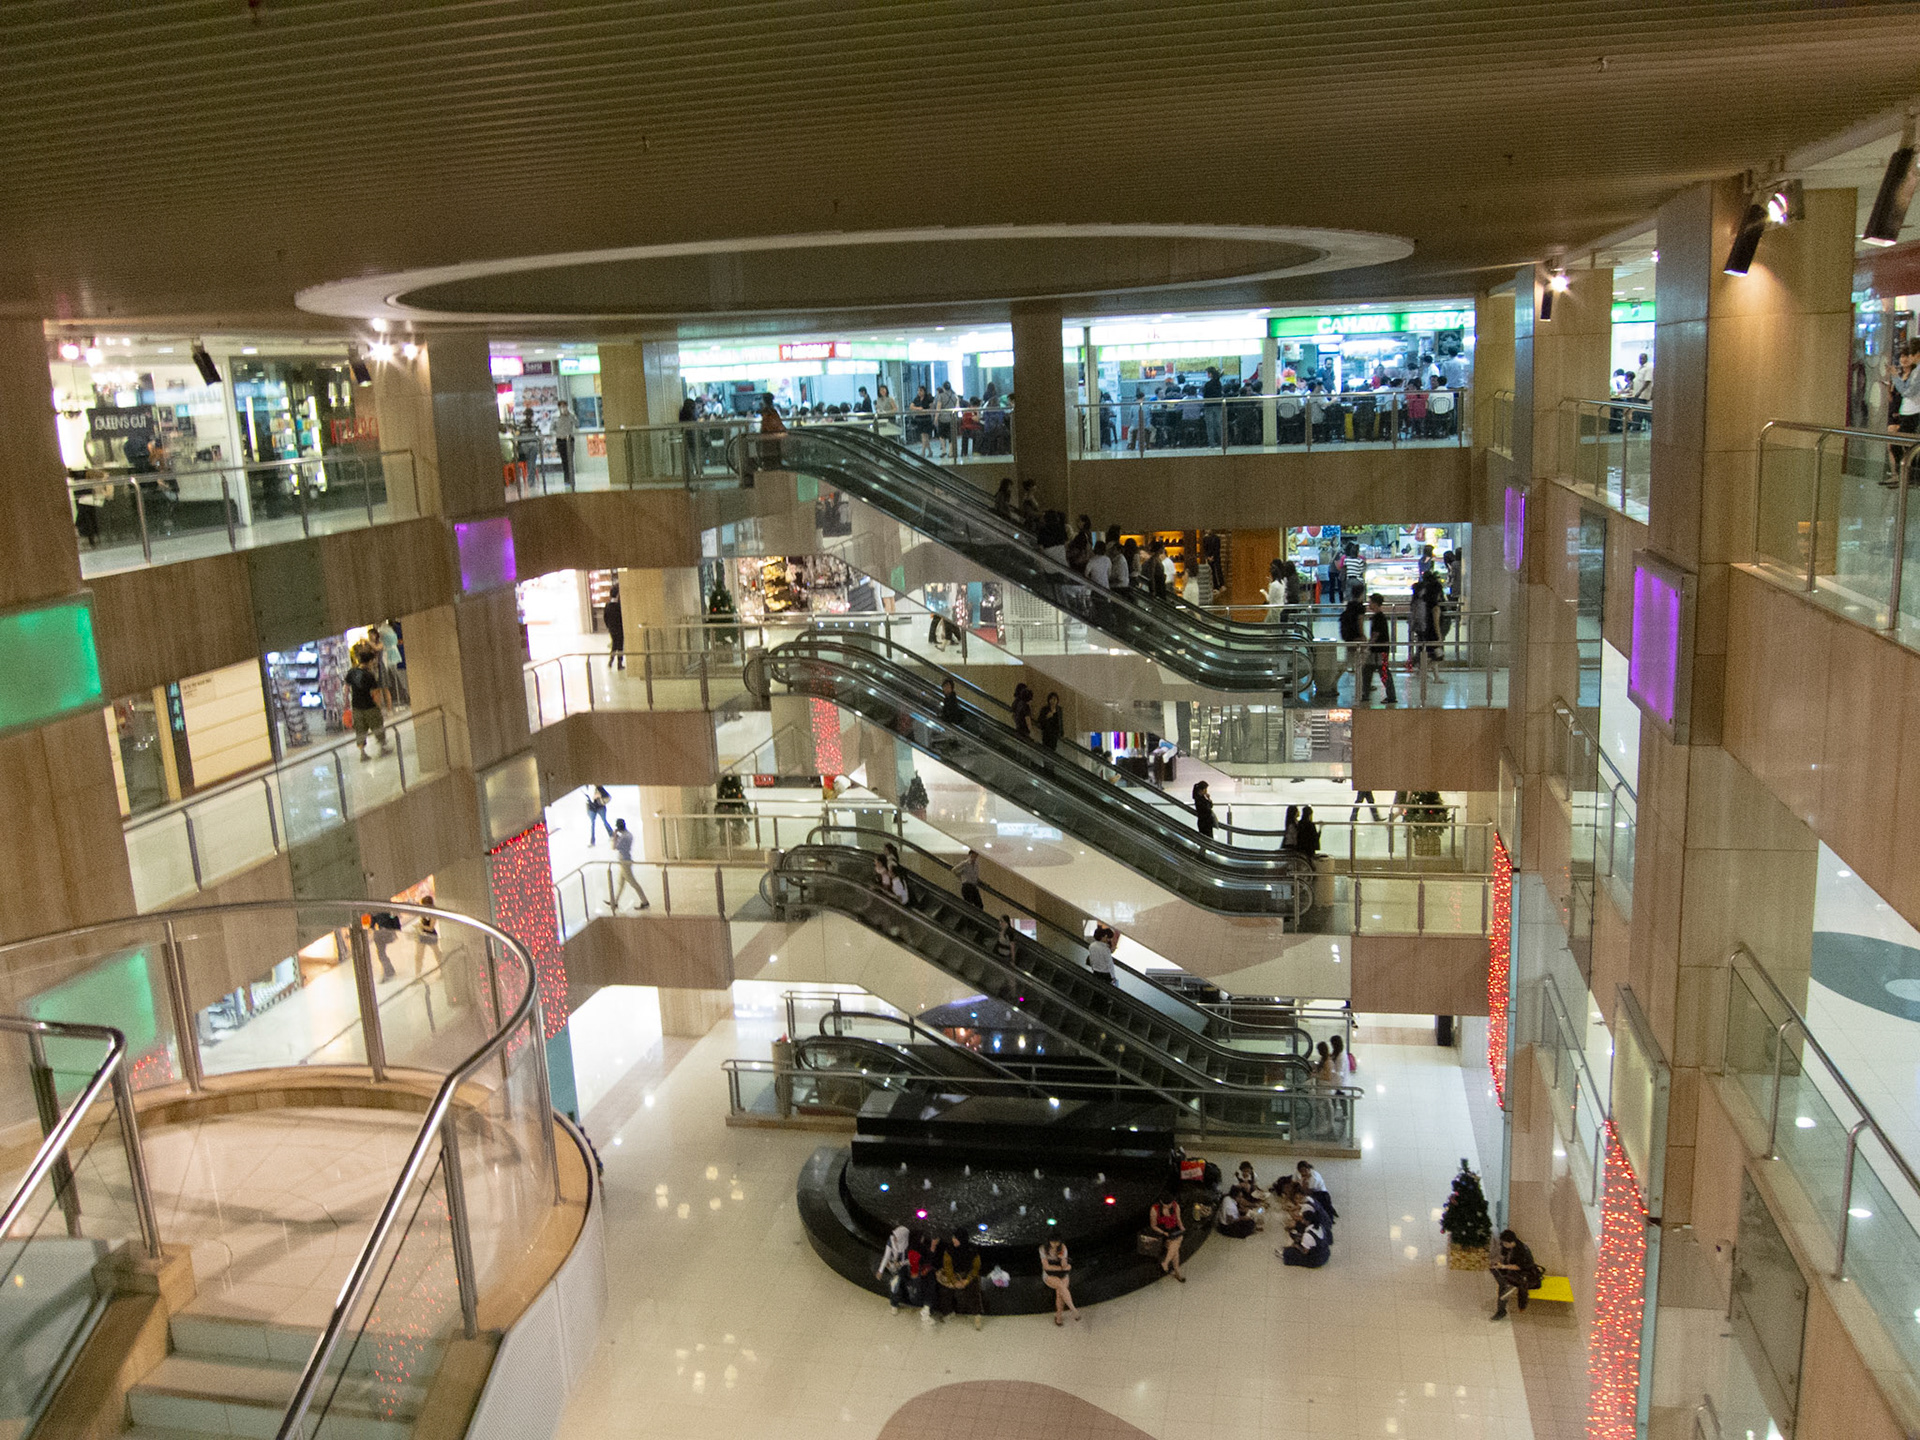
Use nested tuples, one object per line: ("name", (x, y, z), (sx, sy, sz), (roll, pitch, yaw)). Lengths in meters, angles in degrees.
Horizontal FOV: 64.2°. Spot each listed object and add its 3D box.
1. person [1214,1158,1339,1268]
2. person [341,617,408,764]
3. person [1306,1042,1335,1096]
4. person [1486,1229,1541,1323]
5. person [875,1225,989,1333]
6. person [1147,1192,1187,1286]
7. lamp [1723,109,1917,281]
("person", (3.955, 6.168, 19.144), (1.178, 0.501, 1.283), (5, 26, 17))
("person", (-6.738, -0.308, 17.641), (0.563, 1.124, 2.047), (-7, 13, -20))
("person", (5.064, 4.801, 21.314), (0.341, 0.481, 0.751), (-1, 13, 10))
("person", (6.275, 6.314, 17.384), (0.526, 0.750, 0.681), (6, 15, 35))
("person", (-0.369, 6.551, 18.084), (1.306, 0.863, 0.827), (0, 13, 15))
("person", (2.545, 6.318, 18.707), (0.413, 0.711, 0.792), (-1, 12, 8))
("lamp", (5.180, -3.118, 9.256), (0.605, 0.693, 2.611), (-1, 13, 9))
